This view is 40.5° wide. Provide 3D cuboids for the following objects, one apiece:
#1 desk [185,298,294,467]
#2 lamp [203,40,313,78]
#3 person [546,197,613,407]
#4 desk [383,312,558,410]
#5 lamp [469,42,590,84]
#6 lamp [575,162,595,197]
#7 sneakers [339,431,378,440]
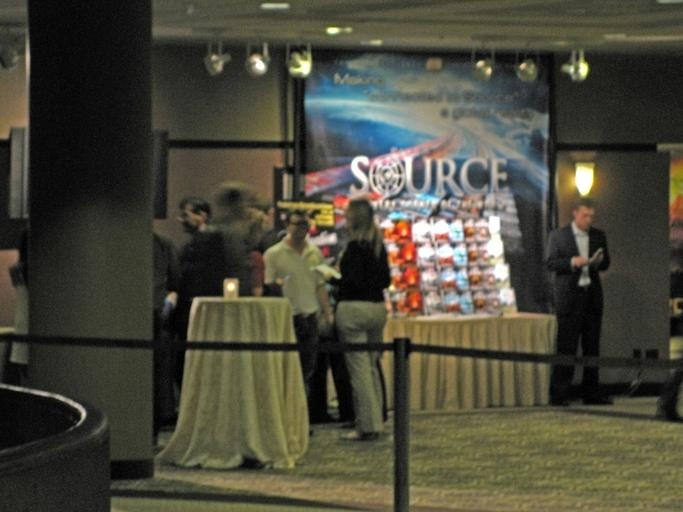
[{"bbox_3d":[-0.603,0.874,6.793,0.967,1.315,1.039,0,-3,-5],"label":"desk"},{"bbox_3d":[-0.735,-1.763,8.283,0.975,0.327,0.428,-2,11,-7],"label":"lamp"},{"bbox_3d":[2.175,0.415,8.426,0.626,1.793,0.972,2,11,13],"label":"person"},{"bbox_3d":[1.110,0.900,7.768,1.602,0.770,0.507,-4,11,-17],"label":"desk"},{"bbox_3d":[1.770,-1.770,8.504,1.221,0.309,0.513,-1,11,-5],"label":"lamp"},{"bbox_3d":[2.336,-0.740,8.850,0.174,0.305,0.189,3,1,20],"label":"lamp"},{"bbox_3d":[0.148,1.337,6.904,0.292,0.059,0.142,0,11,2],"label":"sneakers"}]
